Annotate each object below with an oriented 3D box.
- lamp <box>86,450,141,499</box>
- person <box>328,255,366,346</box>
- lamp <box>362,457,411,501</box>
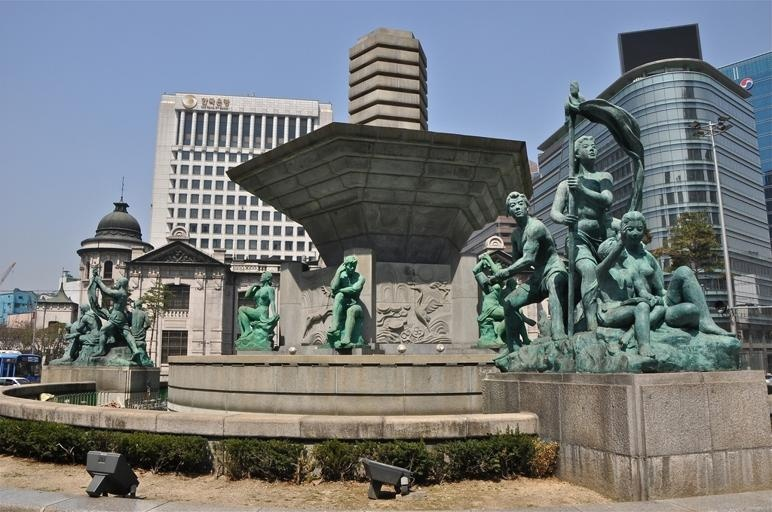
[{"bbox_3d":[-4.988,3.970,12.402,0.790,0.848,0.882,-2,-11,22],"label":"lamp"},{"bbox_3d":[-1.160,1.378,19.695,1.044,2.530,1.266,-2,13,-1],"label":"person"},{"bbox_3d":[0.001,4.096,12.514,0.874,0.546,0.649,2,-15,-5],"label":"lamp"}]
